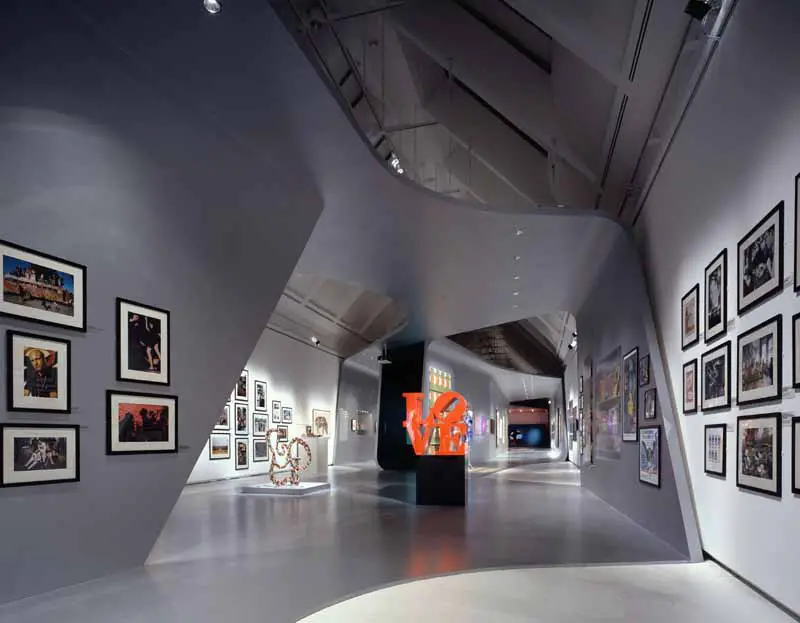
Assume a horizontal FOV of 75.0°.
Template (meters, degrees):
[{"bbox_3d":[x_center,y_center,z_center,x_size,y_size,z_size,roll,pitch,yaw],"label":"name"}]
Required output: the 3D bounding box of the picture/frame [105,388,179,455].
[{"bbox_3d":[-2.627,1.118,5.233,0.031,0.599,0.635,-10,-12,36],"label":"picture/frame"}]

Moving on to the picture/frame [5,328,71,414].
[{"bbox_3d":[-3.135,0.540,4.528,0.065,0.654,0.570,-3,-11,24],"label":"picture/frame"}]

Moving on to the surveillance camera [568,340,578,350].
[{"bbox_3d":[6.509,1.281,19.777,0.429,0.212,0.721,-23,-9,7],"label":"surveillance camera"}]

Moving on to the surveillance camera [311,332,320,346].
[{"bbox_3d":[-2.989,1.024,18.217,0.246,0.416,0.135,-8,27,-24],"label":"surveillance camera"}]
